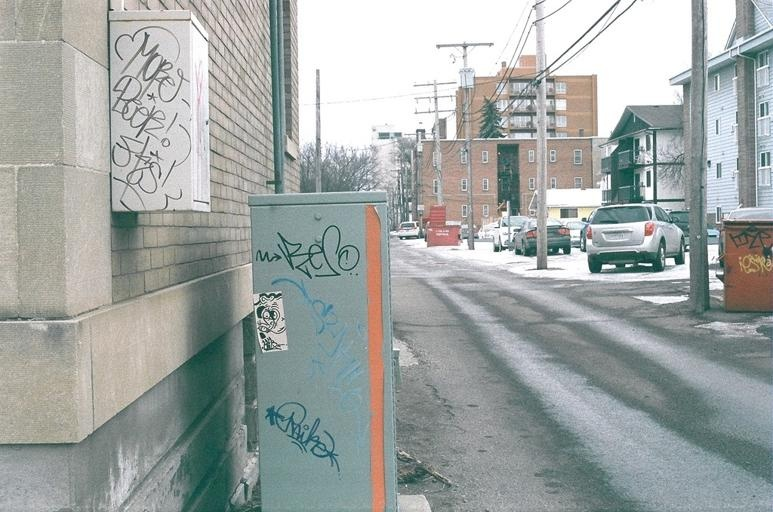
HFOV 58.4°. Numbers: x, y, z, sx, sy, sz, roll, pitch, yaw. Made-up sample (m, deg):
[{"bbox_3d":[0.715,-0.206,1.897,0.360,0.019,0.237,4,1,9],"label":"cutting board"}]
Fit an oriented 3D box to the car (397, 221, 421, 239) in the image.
[{"bbox_3d":[2.393,-2.681,74.570,1.760,1.827,3.411,-2,3,-10],"label":"car"}]
